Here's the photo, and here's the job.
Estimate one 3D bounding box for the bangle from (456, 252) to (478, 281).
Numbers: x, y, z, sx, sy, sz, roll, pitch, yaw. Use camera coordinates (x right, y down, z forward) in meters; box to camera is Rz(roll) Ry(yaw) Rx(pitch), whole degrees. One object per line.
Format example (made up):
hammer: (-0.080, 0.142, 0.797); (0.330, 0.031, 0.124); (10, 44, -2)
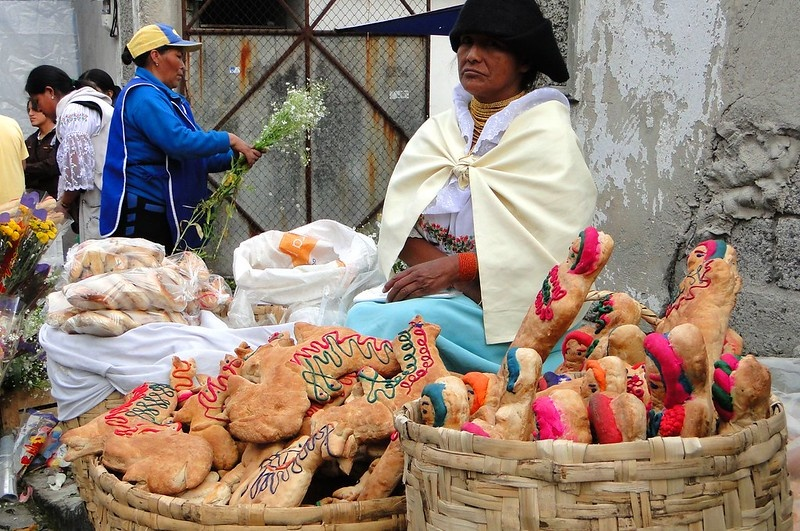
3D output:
bangle: (0.325, 0.004, 4.174); (0.086, 0.115, 0.053); (-3, -5, -7)

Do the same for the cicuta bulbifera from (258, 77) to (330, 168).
cicuta bulbifera: (-0.866, -1.151, 7.047); (0.629, 0.394, 0.751); (-16, -38, -7)

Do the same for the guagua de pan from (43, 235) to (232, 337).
guagua de pan: (-1.339, 0.102, 4.467); (0.391, 0.494, 0.844); (3, -2, 27)

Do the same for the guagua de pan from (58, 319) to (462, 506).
guagua de pan: (-0.430, 0.584, 3.936); (1.381, 0.755, 1.224); (-1, -9, 21)

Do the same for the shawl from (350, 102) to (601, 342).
shawl: (0.579, -0.142, 4.673); (1.108, 1.142, 1.467); (-1, -1, 19)
